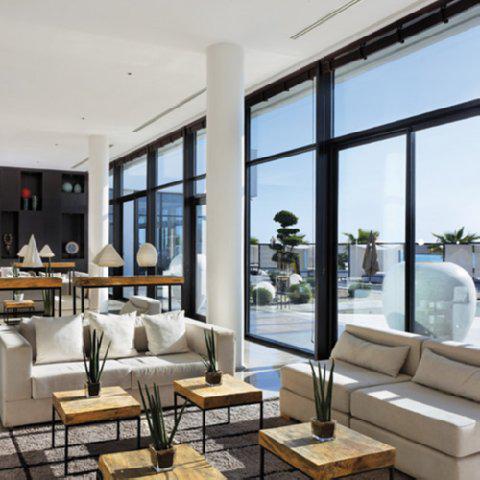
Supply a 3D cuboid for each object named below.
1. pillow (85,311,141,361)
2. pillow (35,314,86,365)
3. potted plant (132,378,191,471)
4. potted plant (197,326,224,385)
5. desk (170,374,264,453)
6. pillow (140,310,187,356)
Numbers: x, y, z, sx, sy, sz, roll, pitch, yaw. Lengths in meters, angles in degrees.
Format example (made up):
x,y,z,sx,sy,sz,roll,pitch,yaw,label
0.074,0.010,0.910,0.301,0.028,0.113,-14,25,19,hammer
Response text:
x,y,z,sx,sy,sz,roll,pitch,yaw,label
-1.103,0.845,3.928,0.313,0.315,0.124,14,-37,-37,pillow
-1.511,0.808,3.822,0.400,0.456,0.151,0,1,-33,pillow
-0.377,0.843,1.992,0.138,0.338,0.182,7,-17,-14,potted plant
-0.201,0.822,3.166,0.138,0.374,0.143,-4,1,40,potted plant
-0.135,1.164,3.083,0.357,0.296,0.533,1,-16,42,desk
-0.677,0.845,4.304,0.361,0.437,0.227,-7,28,-6,pillow
